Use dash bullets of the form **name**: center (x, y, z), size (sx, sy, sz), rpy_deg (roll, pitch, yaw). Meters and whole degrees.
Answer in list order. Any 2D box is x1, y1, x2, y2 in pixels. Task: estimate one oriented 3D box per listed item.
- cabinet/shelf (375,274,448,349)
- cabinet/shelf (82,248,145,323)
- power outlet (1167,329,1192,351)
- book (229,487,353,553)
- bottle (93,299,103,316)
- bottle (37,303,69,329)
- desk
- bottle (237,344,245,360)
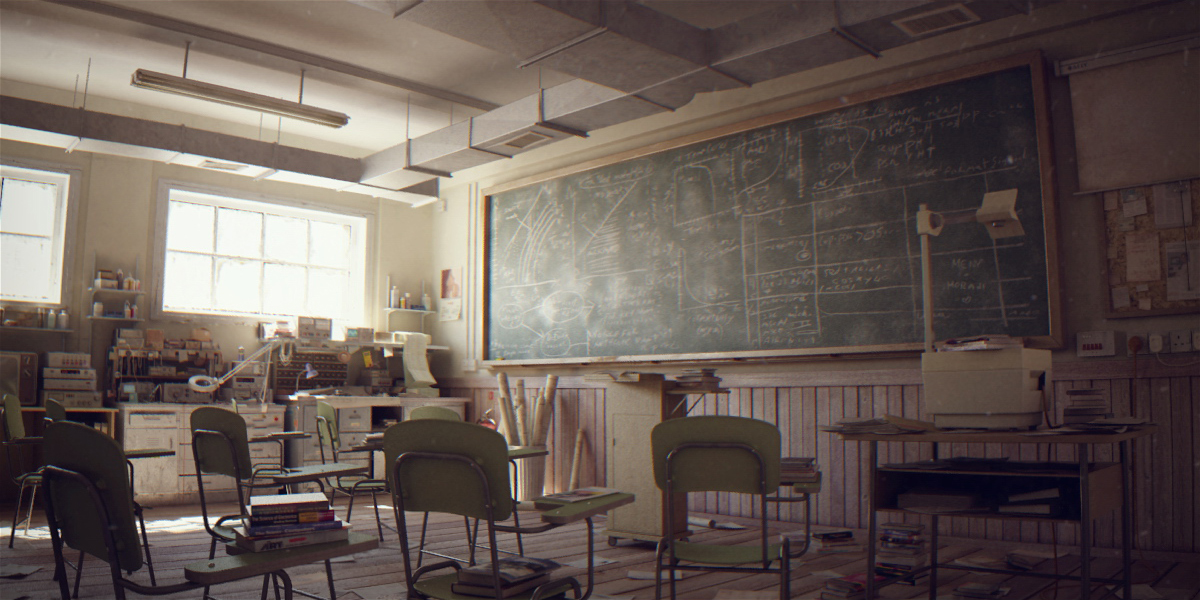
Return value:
- **cabinet/shelf**: center (-2.958, 0.202, 12.893), size (1.322, 1.186, 0.740), rpy_deg (5, -11, -33)
- **cabinet/shelf**: center (-6.564, -0.196, 11.211), size (0.718, 0.925, 0.222), rpy_deg (-1, -5, -24)
- **power outlet**: center (6.015, 0.403, 8.544), size (0.280, 0.212, 0.061), rpy_deg (0, -4, 25)
- **book**: center (-2.623, 1.851, 6.987), size (0.971, 0.420, 0.203), rpy_deg (-1, -5, -13)
- **bottle**: center (-6.730, 0.098, 11.088), size (0.110, 0.213, 0.141), rpy_deg (-1, -5, -30)
- **bottle**: center (-7.200, 0.217, 10.866), size (0.137, 0.290, 0.375), rpy_deg (-15, -12, 37)
- **desk**: center (4.067, 1.686, 8.178), size (2.890, 1.608, 2.189), rpy_deg (-1, -2, 34)
- **bottle**: center (-5.144, 0.730, 11.846), size (0.096, 0.203, 0.132), rpy_deg (-2, -5, -19)
